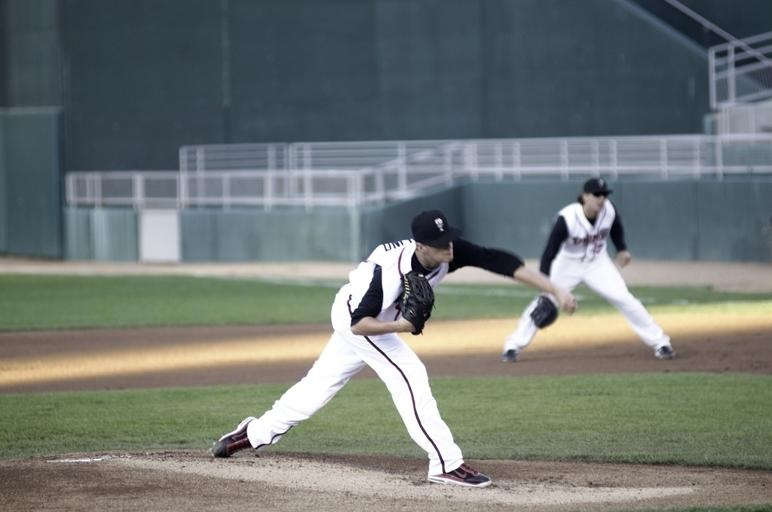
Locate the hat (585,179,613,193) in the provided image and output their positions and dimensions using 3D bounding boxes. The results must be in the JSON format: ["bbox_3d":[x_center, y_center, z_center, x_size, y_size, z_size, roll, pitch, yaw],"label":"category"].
[{"bbox_3d":[4.018,-1.324,31.080,0.376,0.216,0.296,-1,0,44],"label":"hat"}]

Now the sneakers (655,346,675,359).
[{"bbox_3d":[5.397,1.900,31.422,0.189,0.189,0.412,-5,8,4],"label":"sneakers"}]
